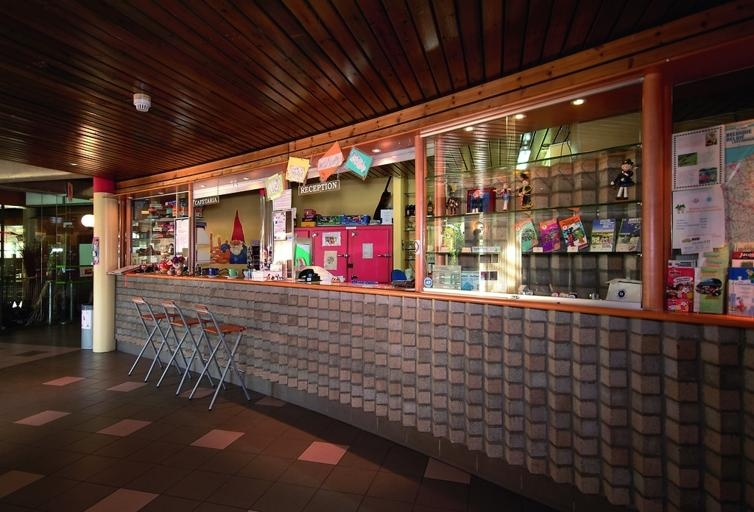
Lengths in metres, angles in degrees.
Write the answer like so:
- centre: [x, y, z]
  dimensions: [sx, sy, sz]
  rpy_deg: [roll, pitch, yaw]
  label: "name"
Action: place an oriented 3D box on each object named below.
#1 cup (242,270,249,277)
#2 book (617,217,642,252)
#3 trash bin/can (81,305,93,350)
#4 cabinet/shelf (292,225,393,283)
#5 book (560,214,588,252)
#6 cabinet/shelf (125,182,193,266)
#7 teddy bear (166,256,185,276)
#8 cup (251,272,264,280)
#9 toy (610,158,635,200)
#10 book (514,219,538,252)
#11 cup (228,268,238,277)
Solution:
- centre: [-1.974, 0.262, 7.819]
  dimensions: [0.107, 0.133, 0.144]
  rpy_deg: [-3, 2, -34]
  label: "cup"
- centre: [2.411, -0.199, 4.881]
  dimensions: [0.075, 0.345, 0.265]
  rpy_deg: [-5, 10, -27]
  label: "book"
- centre: [-5.305, 1.312, 9.410]
  dimensions: [0.206, 0.773, 0.274]
  rpy_deg: [-1, 9, -4]
  label: "trash bin/can"
- centre: [-0.554, -0.037, 9.886]
  dimensions: [1.251, 1.084, 0.476]
  rpy_deg: [0, -2, 15]
  label: "cabinet/shelf"
- centre: [2.008, -0.233, 5.225]
  dimensions: [0.272, 0.378, 0.103]
  rpy_deg: [3, 10, 19]
  label: "book"
- centre: [-3.859, -0.520, 9.544]
  dimensions: [1.702, 1.473, 0.622]
  rpy_deg: [-1, 0, 24]
  label: "cabinet/shelf"
- centre: [-3.405, 0.175, 8.831]
  dimensions: [0.295, 0.359, 0.179]
  rpy_deg: [4, -10, 20]
  label: "teddy bear"
- centre: [-1.765, 0.287, 7.618]
  dimensions: [0.146, 0.085, 0.141]
  rpy_deg: [2, -2, 0]
  label: "cup"
- centre: [2.409, -0.754, 5.020]
  dimensions: [0.092, 0.386, 0.186]
  rpy_deg: [-5, 10, -30]
  label: "toy"
- centre: [1.586, -0.214, 5.412]
  dimensions: [0.304, 0.396, 0.059]
  rpy_deg: [-11, -13, 30]
  label: "book"
- centre: [-2.203, 0.254, 7.867]
  dimensions: [0.117, 0.095, 0.139]
  rpy_deg: [-1, -9, 4]
  label: "cup"
